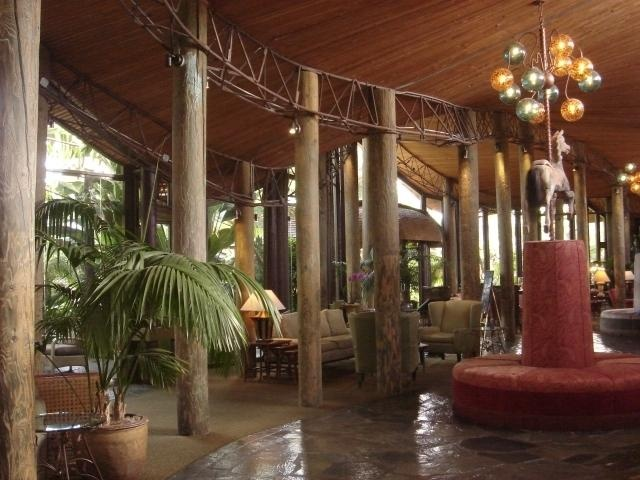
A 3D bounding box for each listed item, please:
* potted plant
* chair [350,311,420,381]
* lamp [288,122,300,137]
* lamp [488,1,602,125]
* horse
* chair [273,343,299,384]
[{"bbox_3d":[-1.368,0.484,4.306,1.777,1.826,0.963,-9,-9,41],"label":"potted plant"},{"bbox_3d":[0.947,1.536,8.830,0.934,1.234,1.011,-1,-2,15],"label":"chair"},{"bbox_3d":[-0.332,-1.424,7.470,0.120,0.148,0.205,0,-8,-23],"label":"lamp"},{"bbox_3d":[3.232,-2.616,8.268,1.411,2.220,1.602,-1,-11,23],"label":"lamp"},{"bbox_3d":[2.778,-0.748,6.989,0.495,1.439,1.219,-5,-8,24],"label":"horse"},{"bbox_3d":[-0.475,1.946,9.114,0.544,0.569,0.506,-1,-6,14],"label":"chair"}]
